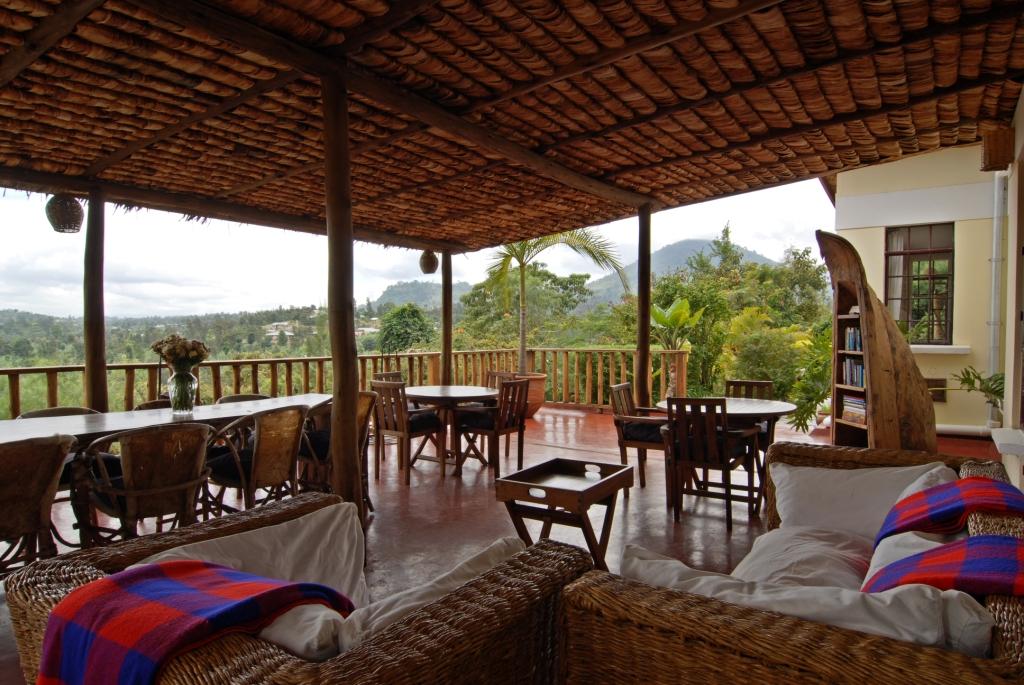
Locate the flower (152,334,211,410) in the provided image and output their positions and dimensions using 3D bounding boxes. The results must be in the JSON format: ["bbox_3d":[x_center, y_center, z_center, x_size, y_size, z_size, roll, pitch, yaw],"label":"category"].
[{"bbox_3d":[-2.404,0.240,4.558,0.462,0.500,0.420,1,-4,5],"label":"flower"}]

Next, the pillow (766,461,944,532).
[{"bbox_3d":[1.755,0.785,3.113,0.498,0.135,0.279,2,42,15],"label":"pillow"}]

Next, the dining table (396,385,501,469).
[{"bbox_3d":[-0.557,0.748,6.236,0.916,0.606,0.886,-5,7,-42],"label":"dining table"}]

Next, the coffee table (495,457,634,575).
[{"bbox_3d":[0.349,1.176,3.898,0.652,0.660,0.840,1,0,38],"label":"coffee table"}]

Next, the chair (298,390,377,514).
[{"bbox_3d":[-1.481,0.886,4.913,0.742,0.866,0.657,-4,0,30],"label":"chair"}]

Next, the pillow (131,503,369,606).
[{"bbox_3d":[-0.974,0.899,2.618,0.604,0.163,0.417,2,2,-25],"label":"pillow"}]

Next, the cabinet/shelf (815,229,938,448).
[{"bbox_3d":[2.833,0.019,4.910,0.760,1.829,1.638,-1,0,14],"label":"cabinet/shelf"}]

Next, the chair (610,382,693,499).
[{"bbox_3d":[1.236,0.828,5.433,0.660,0.863,0.619,-1,1,36],"label":"chair"}]

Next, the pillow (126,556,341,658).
[{"bbox_3d":[-0.928,0.830,2.085,0.402,0.113,0.395,14,-9,-43],"label":"pillow"}]

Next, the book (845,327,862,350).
[{"bbox_3d":[3.024,-0.039,5.541,0.192,0.239,0.187,0,-3,25],"label":"book"}]

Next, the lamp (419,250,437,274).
[{"bbox_3d":[-1.101,-1.095,8.137,0.216,0.367,0.548,-1,-1,-4],"label":"lamp"}]

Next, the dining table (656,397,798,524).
[{"bbox_3d":[1.717,0.790,4.962,1.035,0.842,1.076,1,3,29],"label":"dining table"}]

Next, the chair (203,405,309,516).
[{"bbox_3d":[-1.803,0.864,4.298,0.659,0.809,0.621,2,3,22],"label":"chair"}]

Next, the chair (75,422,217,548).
[{"bbox_3d":[-2.236,0.896,3.783,0.766,0.828,0.695,3,3,-11],"label":"chair"}]

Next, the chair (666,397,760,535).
[{"bbox_3d":[1.557,0.905,4.857,0.700,0.905,0.715,-2,-4,29],"label":"chair"}]

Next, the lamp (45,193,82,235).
[{"bbox_3d":[-3.708,-1.074,5.176,0.321,0.231,0.322,-1,-4,2],"label":"lamp"}]
